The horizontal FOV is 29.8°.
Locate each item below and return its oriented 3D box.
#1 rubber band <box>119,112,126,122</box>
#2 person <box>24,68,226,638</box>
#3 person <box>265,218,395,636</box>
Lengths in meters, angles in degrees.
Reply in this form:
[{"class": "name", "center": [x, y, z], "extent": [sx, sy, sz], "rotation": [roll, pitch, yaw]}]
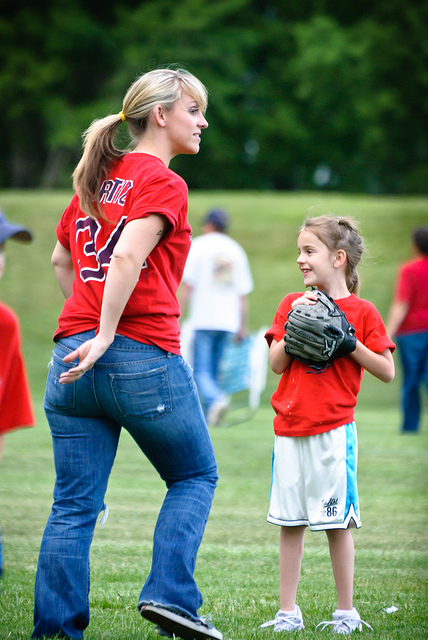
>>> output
[{"class": "rubber band", "center": [-0.270, -0.598, 2.378], "extent": [0.011, 0.025, 0.025], "rotation": [-19, 18, 5]}, {"class": "person", "center": [-0.257, 0.162, 2.318], "extent": [0.525, 1.721, 0.739], "rotation": [-1, 17, -1]}, {"class": "person", "center": [0.374, 0.348, 2.602], "extent": [0.422, 1.270, 0.729], "rotation": [0, 16, 3]}]
